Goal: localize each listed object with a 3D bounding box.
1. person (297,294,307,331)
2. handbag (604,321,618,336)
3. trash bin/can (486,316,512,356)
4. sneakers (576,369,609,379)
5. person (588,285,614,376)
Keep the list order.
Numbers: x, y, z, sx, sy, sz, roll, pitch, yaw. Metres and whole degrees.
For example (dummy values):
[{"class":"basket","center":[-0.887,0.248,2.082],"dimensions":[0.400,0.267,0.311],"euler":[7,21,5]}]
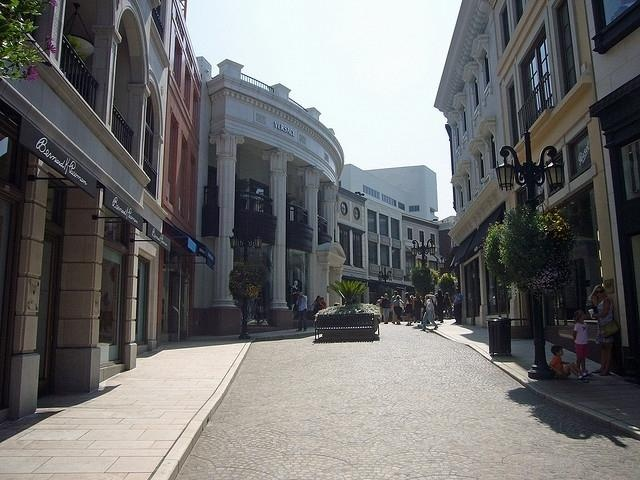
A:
[{"class":"person","center":[-1.056,4.056,27.488],"dimensions":[0.490,2.144,0.906],"euler":[0,-12,-6]},{"class":"handbag","center":[6.660,2.052,11.309],"dimensions":[0.224,0.257,0.139],"euler":[-22,-5,10]},{"class":"trash bin/can","center":[5.077,2.737,13.843],"dimensions":[0.583,1.057,0.698],"euler":[0,-6,-13]},{"class":"sneakers","center":[6.112,3.036,11.063],"dimensions":[0.436,0.235,0.151],"euler":[-13,-6,12]},{"class":"person","center":[6.628,2.119,11.496],"dimensions":[0.502,2.057,0.736],"euler":[-8,-13,31]}]
